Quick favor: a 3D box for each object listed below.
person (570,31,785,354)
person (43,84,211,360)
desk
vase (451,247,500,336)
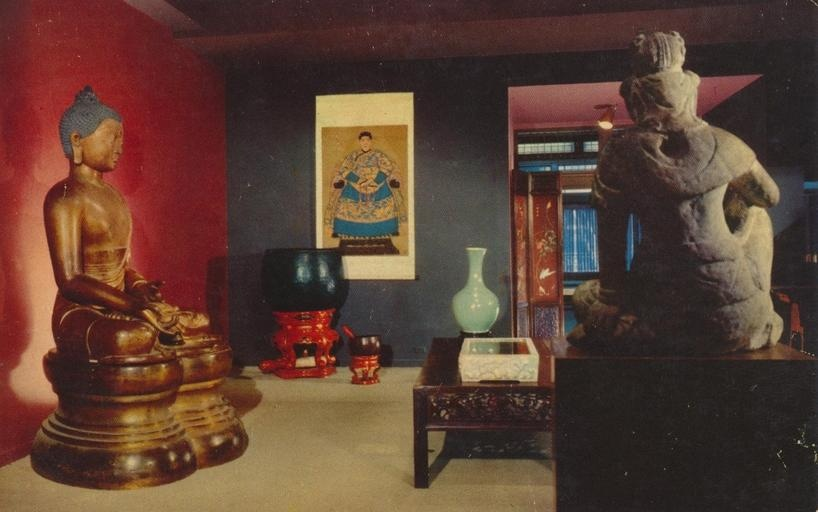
[{"bbox_3d":[1.170,-0.275,3.742,0.865,1.402,0.233,-2,0,-6],"label":"person"},{"bbox_3d":[-1.527,-0.191,4.430,0.702,1.127,0.327,-2,0,-14],"label":"person"},{"bbox_3d":[0.415,0.661,4.503,0.745,0.459,1.085,-1,2,4],"label":"desk"},{"bbox_3d":[0.397,0.216,5.208,0.268,0.495,0.202,-2,0,11],"label":"vase"}]
